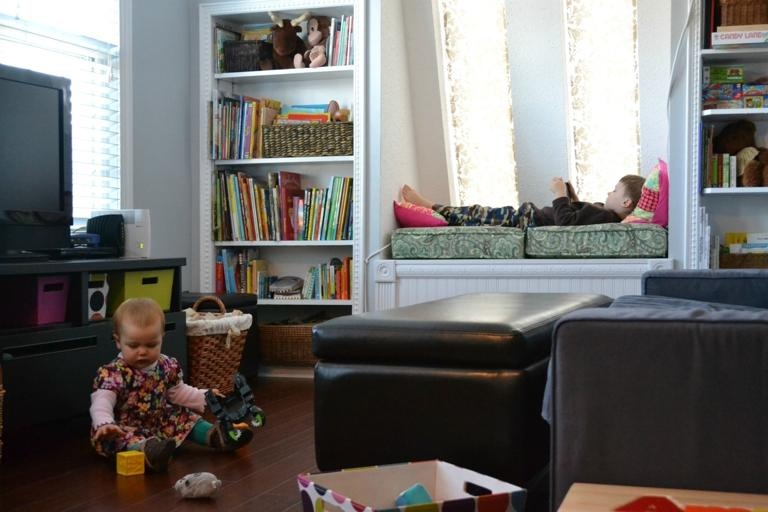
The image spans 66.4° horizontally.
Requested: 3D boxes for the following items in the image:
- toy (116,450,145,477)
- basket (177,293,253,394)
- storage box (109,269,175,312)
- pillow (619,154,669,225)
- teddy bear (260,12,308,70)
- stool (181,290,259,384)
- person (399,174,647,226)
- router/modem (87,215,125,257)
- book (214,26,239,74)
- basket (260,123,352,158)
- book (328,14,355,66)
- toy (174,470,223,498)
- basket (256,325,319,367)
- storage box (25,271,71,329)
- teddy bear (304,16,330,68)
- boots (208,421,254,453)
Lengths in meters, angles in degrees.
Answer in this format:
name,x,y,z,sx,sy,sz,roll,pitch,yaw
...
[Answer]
name,x,y,z,sx,sy,sz,roll,pitch,yaw
toy,-0.935,0.771,2.164,0.085,0.082,0.087,-3,-6,31
basket,-0.940,0.493,3.239,0.423,0.460,0.379,-5,-1,-22
storage box,-1.202,0.175,2.931,0.216,0.135,0.219,0,-2,10
pillow,1.548,-0.368,3.477,0.236,0.397,0.145,0,2,21
teddy bear,-0.655,-1.400,3.854,0.202,0.282,0.540,-6,-1,-10
stool,-1.058,0.483,3.513,0.539,0.526,0.442,-2,-3,16
person,0.889,-0.221,3.905,1.513,0.392,0.543,-1,-2,19
router/modem,-1.472,-0.105,3.040,0.228,0.207,0.082,-1,-7,-13
book,-1.022,-1.383,3.961,0.262,0.305,0.029,20,33,39
basket,-0.481,-0.716,3.839,0.381,0.129,0.266,-1,2,9
book,-0.284,-1.383,3.768,0.202,0.312,0.048,1,3,33
toy,-0.641,0.774,1.988,0.113,0.041,0.084,-1,4,7
basket,-0.611,0.577,3.819,0.380,0.271,0.234,0,0,0
storage box,-1.486,0.206,2.639,0.130,0.228,0.128,1,-5,-35
teddy bear,-0.453,-1.404,3.836,0.183,0.361,0.157,0,2,16
boots,-0.615,0.725,2.371,0.166,0.114,0.101,-5,2,7
